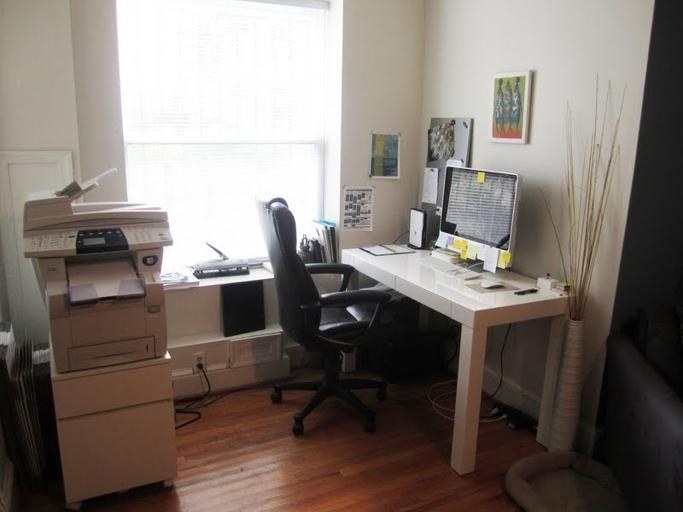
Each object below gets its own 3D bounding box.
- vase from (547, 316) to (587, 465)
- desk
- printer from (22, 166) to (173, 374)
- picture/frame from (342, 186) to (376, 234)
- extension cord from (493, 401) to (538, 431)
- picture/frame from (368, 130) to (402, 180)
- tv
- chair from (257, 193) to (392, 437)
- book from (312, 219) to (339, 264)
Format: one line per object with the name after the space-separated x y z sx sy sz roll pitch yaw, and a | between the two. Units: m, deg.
1.280 0.720 3.062 0.154 0.816 0.152 8 23 23 | vase
0.696 0.512 3.692 0.797 0.988 1.487 -10 18 -27 | desk
-1.201 0.034 3.040 0.695 1.035 0.902 -5 13 -29 | printer
0.112 -0.344 3.991 0.233 0.336 0.023 -1 19 -9 | picture/frame
1.092 1.009 3.432 0.109 0.047 0.181 -14 34 -43 | extension cord
0.303 -0.752 3.984 0.326 0.471 0.019 -3 8 -29 | picture/frame
0.870 -0.233 3.347 0.072 0.517 0.536 3 13 -28 | tv
-0.115 0.330 3.432 0.754 1.360 0.828 1 12 4 | chair
-0.120 -0.095 3.970 0.035 0.245 0.261 -15 20 -17 | book
